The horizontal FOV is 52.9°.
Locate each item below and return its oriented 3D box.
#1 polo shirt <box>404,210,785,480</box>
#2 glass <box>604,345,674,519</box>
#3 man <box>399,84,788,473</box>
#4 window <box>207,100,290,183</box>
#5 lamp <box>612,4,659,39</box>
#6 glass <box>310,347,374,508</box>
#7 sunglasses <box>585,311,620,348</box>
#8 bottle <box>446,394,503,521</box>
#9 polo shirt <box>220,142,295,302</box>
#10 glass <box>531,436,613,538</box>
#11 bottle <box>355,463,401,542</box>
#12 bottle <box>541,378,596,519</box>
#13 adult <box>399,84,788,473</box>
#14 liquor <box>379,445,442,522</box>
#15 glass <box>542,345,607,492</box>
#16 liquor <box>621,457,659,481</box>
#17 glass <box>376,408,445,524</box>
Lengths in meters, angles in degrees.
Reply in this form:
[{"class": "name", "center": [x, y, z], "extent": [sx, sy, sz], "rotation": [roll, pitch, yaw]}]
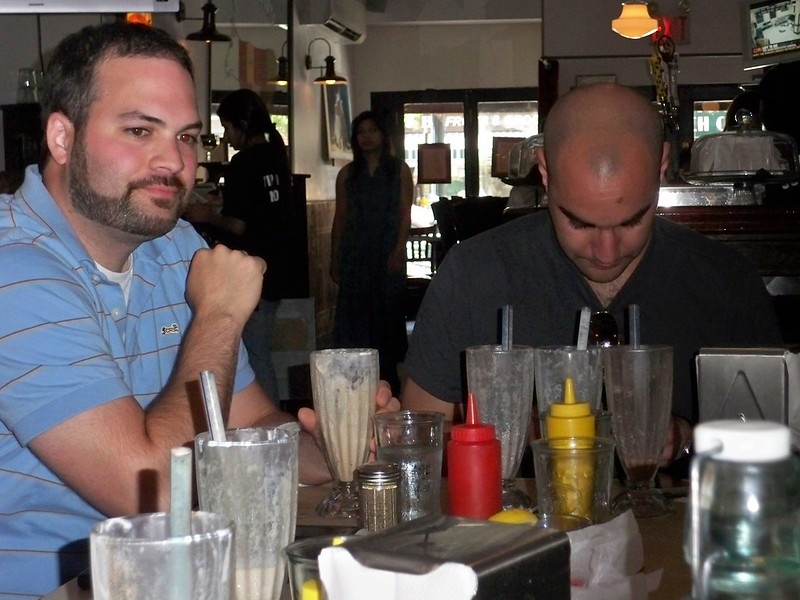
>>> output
[{"class": "polo shirt", "center": [0.451, 0.003, 1.987], "extent": [1.062, 0.762, 0.456], "rotation": [1, 4, 9]}, {"class": "glass", "center": [0.415, 0.235, 1.416], "extent": [0.123, 0.300, 0.127], "rotation": [-2, -1, 31]}, {"class": "man", "center": [0.486, -0.050, 1.967], "extent": [0.961, 0.861, 0.547], "rotation": [-2, 37, 6]}, {"class": "window", "center": [-0.770, -0.847, 4.326], "extent": [0.305, 0.534, 0.430], "rotation": [-8, 12, 12]}, {"class": "lamp", "center": [1.514, -1.781, 5.217], "extent": [0.255, 0.262, 0.261], "rotation": [9, 17, 36]}, {"class": "glass", "center": [-0.090, 0.223, 1.399], "extent": [0.112, 0.276, 0.101], "rotation": [-2, 4, 9]}, {"class": "sunglasses", "center": [0.448, 0.063, 1.765], "extent": [0.083, 0.086, 0.023], "rotation": [4, -11, -6]}, {"class": "bottle", "center": [0.112, 0.228, 1.223], "extent": [0.078, 0.169, 0.124], "rotation": [-2, 4, 6]}, {"class": "polo shirt", "center": [-0.744, -0.471, 4.327], "extent": [0.286, 0.757, 0.413], "rotation": [25, 35, 35]}, {"class": "glass", "center": [0.256, 0.264, 1.192], "extent": [0.121, 0.134, 0.123], "rotation": [-3, 1, -5]}, {"class": "bottle", "center": [-0.029, 0.277, 1.109], "extent": [0.049, 0.082, 0.051], "rotation": [1, -5, 0]}, {"class": "bottle", "center": [0.258, 0.233, 1.215], "extent": [0.081, 0.237, 0.082], "rotation": [-3, 6, 0]}, {"class": "adult", "center": [0.490, -0.052, 1.966], "extent": [0.966, 0.866, 0.562], "rotation": [-3, 37, 6]}, {"class": "liquor", "center": [0.026, 0.269, 1.226], "extent": [0.102, 0.163, 0.099], "rotation": [0, -3, -3]}, {"class": "glass", "center": [0.286, 0.184, 1.392], "extent": [0.145, 0.226, 0.136], "rotation": [-2, 4, -15]}, {"class": "liquor", "center": [0.412, 0.292, 1.385], "extent": [0.044, 0.034, 0.045], "rotation": [-1, -1, -7]}, {"class": "glass", "center": [0.019, 0.268, 1.276], "extent": [0.105, 0.167, 0.105], "rotation": [-7, -11, 21]}]
